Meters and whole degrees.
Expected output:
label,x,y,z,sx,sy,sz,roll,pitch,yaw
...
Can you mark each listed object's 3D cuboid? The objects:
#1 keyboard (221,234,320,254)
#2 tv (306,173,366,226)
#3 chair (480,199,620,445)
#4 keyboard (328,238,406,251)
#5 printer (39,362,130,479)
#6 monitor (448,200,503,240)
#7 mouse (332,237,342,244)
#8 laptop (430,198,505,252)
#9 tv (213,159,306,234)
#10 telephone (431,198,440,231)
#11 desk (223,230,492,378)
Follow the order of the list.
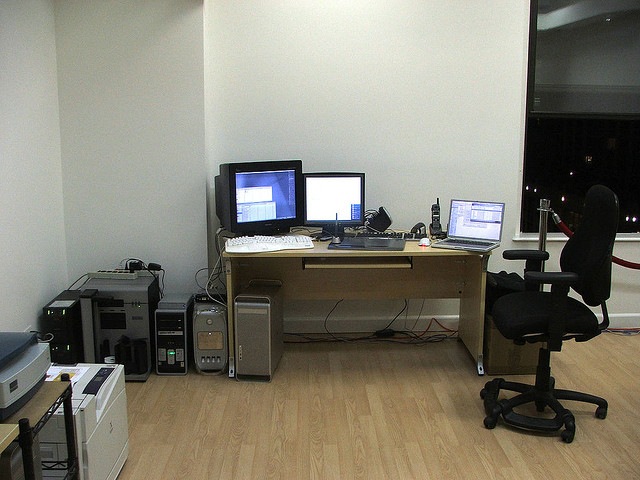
label,x,y,z,sx,sy,sz,roll,pitch,yaw
keyboard,-0.353,0.030,3.923,0.686,0.060,0.367,-1,11,-6
tv,0.121,-0.336,4.212,0.370,0.354,0.138,1,7,-1
chair,1.534,0.473,3.553,0.758,1.512,1.032,1,5,17
keyboard,0.345,0.032,3.907,0.558,0.040,0.263,1,11,6
printer,-1.261,1.045,2.805,0.316,0.620,0.644,-1,11,-5
monitor,1.101,-0.135,3.885,0.432,0.321,0.263,7,6,40
mouse,0.125,0.004,3.987,0.040,0.034,0.063,1,2,-2
laptop,1.076,-0.116,3.886,0.448,0.328,0.488,-7,11,-35
tv,-0.468,-0.368,4.347,0.626,0.597,0.474,-3,17,-14
telephone,0.937,-0.200,4.271,0.062,0.225,0.158,3,12,12
desk,0.300,0.527,4.161,1.798,0.969,0.860,-2,5,5
